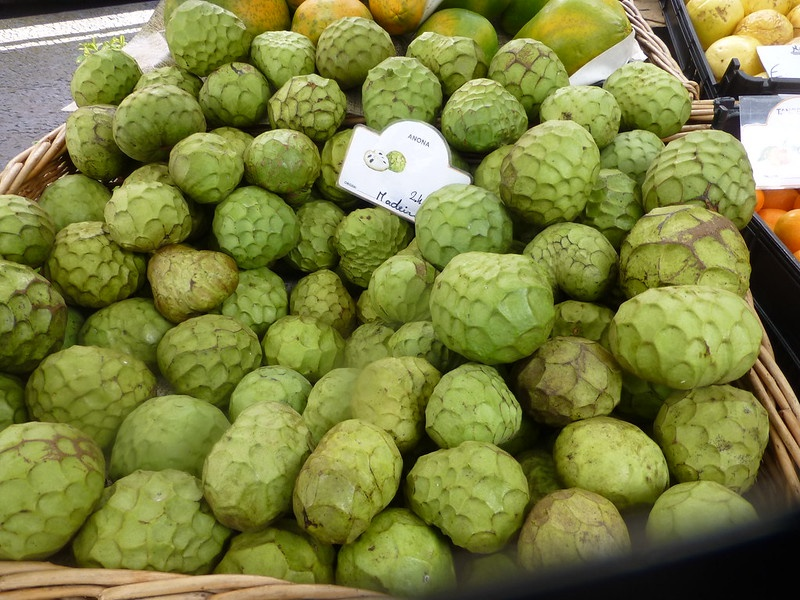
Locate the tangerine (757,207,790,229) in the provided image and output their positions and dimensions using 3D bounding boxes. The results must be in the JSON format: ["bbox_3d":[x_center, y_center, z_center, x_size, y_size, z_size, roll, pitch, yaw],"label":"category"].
[{"bbox_3d":[1.676,-0.369,3.342,0.123,0.078,0.134,5,33,15],"label":"tangerine"}]
